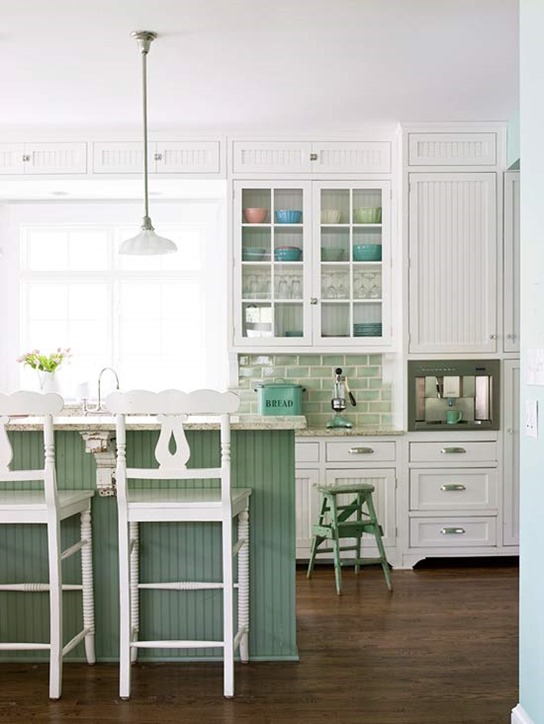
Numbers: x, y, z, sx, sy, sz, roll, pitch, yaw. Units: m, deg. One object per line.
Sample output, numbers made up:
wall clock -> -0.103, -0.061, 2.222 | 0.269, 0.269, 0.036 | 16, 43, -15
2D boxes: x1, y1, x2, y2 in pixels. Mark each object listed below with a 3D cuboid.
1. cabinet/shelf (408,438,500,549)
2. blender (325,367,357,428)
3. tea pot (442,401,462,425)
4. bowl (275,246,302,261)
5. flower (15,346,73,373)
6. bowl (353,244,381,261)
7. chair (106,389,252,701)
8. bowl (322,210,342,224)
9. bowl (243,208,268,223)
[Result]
cabinet/shelf -> 1.020, 0.711, 5.398 | 0.585, 0.920, 0.510 | 0, -5, 0
blender -> 0.423, 0.180, 5.569 | 0.154, 0.329, 0.135 | 4, 6, 28
tea pot -> 1.039, 0.248, 5.225 | 0.130, 0.144, 0.074 | 15, -20, -42
bowl -> 0.092, -0.636, 5.386 | 0.094, 0.054, 0.107 | 0, -2, -36
flower -> -1.512, -0.041, 5.913 | 0.334, 0.158, 0.344 | 0, 4, -9
bowl -> 0.561, -0.654, 5.394 | 0.107, 0.062, 0.110 | 1, 1, 0
chair -> -0.355, 0.616, 3.563 | 0.531, 1.112, 0.614 | 0, 3, -2
bowl -> 0.356, -0.855, 5.398 | 0.078, 0.059, 0.085 | 0, 3, 0
bowl -> -0.106, -0.867, 5.388 | 0.138, 0.084, 0.079 | 0, 4, -4
